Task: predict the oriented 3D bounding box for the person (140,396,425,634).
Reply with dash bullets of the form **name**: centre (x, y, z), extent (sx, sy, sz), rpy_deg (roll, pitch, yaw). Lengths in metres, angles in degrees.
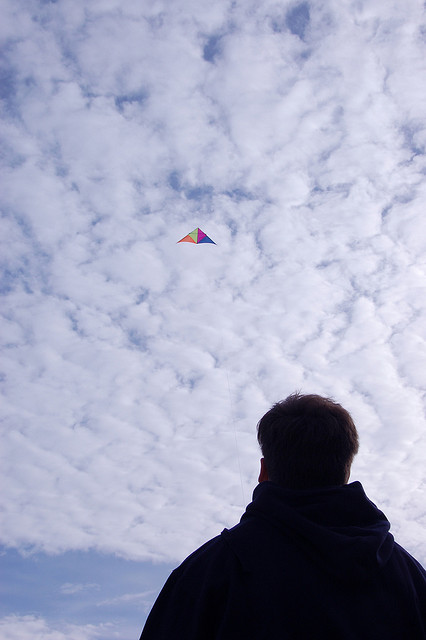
- **person**: centre (0.317, 0.871, 2.827), extent (1.183, 0.800, 0.476), rpy_deg (7, -42, -2)
